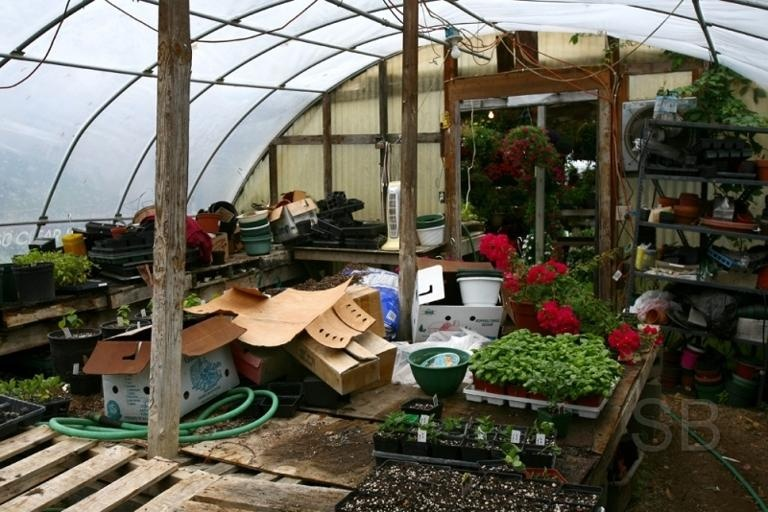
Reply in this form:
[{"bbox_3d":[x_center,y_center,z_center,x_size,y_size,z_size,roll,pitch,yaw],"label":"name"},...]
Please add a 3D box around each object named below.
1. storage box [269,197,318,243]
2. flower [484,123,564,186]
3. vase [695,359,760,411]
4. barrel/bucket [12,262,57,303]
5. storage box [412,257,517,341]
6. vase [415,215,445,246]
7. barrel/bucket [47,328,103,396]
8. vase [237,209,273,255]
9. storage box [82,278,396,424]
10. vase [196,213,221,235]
[{"bbox_3d":[-1.452,-0.470,9.719,0.695,0.495,0.733,-20,-6,-44],"label":"storage box"},{"bbox_3d":[2.179,-1.556,9.066,0.997,0.824,0.939,0,3,4],"label":"flower"},{"bbox_3d":[4.199,1.572,7.199,0.516,0.359,0.580,9,-9,-35],"label":"vase"},{"bbox_3d":[-4.040,0.299,6.934,0.462,0.473,0.465,-3,0,0],"label":"barrel/bucket"},{"bbox_3d":[0.828,0.510,6.713,0.970,0.924,0.913,2,5,0],"label":"storage box"},{"bbox_3d":[0.671,-0.395,9.358,0.512,0.371,0.505,-4,2,-31],"label":"vase"},{"bbox_3d":[-3.027,1.038,5.991,0.617,0.652,0.633,0,-3,0],"label":"barrel/bucket"},{"bbox_3d":[-1.997,-0.362,9.270,0.538,0.686,0.360,-7,5,-29],"label":"vase"},{"bbox_3d":[-1.224,0.754,5.329,1.975,0.702,1.441,-12,4,-41],"label":"storage box"},{"bbox_3d":[-2.706,-0.488,9.104,0.322,0.232,0.319,2,-7,-45],"label":"vase"}]
